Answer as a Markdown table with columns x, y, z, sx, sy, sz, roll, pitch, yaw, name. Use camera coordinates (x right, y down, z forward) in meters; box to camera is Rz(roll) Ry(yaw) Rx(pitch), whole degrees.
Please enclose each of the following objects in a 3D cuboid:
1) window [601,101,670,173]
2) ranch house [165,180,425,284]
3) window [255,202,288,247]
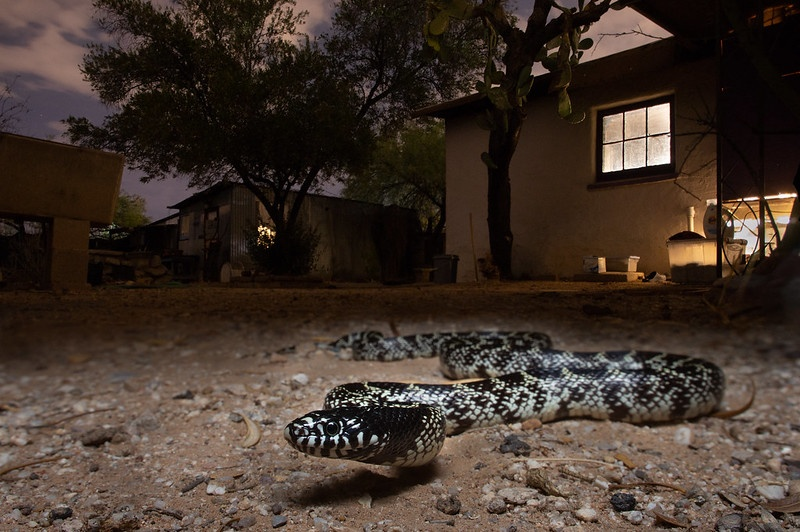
| x | y | z | sx | sy | sz | roll | pitch | yaw | name |
| --- | --- | --- | --- | --- | --- | --- | --- | --- | --- |
| 5.479 | -3.026 | 13.105 | 0.168 | 1.607 | 1.740 | 5 | -6 | -41 | window |
| -4.700 | -1.434 | 25.162 | 11.513 | 4.171 | 6.331 | 0 | -3 | 1 | ranch house |
| -5.430 | -1.706 | 22.926 | 1.552 | 1.303 | 2.115 | 0 | -2 | 0 | window |
